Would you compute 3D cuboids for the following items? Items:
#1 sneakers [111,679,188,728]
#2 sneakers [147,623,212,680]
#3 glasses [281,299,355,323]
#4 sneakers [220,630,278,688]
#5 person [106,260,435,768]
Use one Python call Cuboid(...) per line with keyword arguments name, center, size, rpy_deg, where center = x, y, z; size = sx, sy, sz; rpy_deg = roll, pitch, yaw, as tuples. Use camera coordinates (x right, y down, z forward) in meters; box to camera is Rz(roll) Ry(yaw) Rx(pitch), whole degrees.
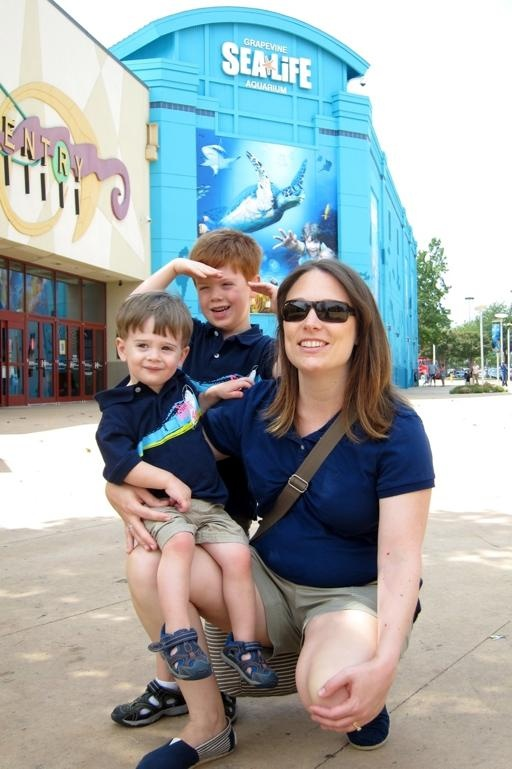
Cuboid(name="sneakers", center=(-0.348, 1.090, 2.306), size=(0.293, 0.135, 0.101), rpy_deg=(8, -14, -37))
Cuboid(name="sneakers", center=(-0.202, 0.713, 1.796), size=(0.109, 0.101, 0.230), rpy_deg=(-3, 6, -33))
Cuboid(name="glasses", center=(0.178, -0.226, 2.083), size=(0.213, 0.080, 0.070), rpy_deg=(0, 1, 34))
Cuboid(name="sneakers", center=(-0.015, 0.781, 1.911), size=(0.081, 0.105, 0.232), rpy_deg=(11, 0, -33))
Cuboid(name="person", center=(0.077, 0.351, 2.026), size=(0.861, 1.507, 0.673), rpy_deg=(1, 1, 30))
